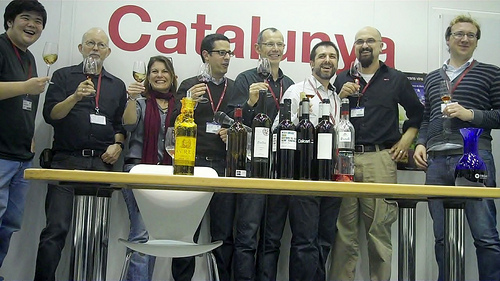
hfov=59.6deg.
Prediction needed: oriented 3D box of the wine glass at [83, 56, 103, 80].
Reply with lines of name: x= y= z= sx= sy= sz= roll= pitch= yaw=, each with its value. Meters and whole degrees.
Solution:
wine glass: x=-1.502 y=-0.694 z=4.106 sx=0.107 sy=0.213 sz=0.135 roll=0 pitch=3 yaw=-7

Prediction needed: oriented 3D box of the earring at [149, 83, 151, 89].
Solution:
earring: x=-1.218 y=-0.653 z=5.299 sx=0.009 sy=0.040 sz=0.010 roll=1 pitch=2 yaw=45

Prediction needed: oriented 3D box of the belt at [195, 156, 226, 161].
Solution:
belt: x=-0.456 y=0.211 z=5.084 sx=0.344 sy=0.055 sz=0.044 roll=0 pitch=3 yaw=-7

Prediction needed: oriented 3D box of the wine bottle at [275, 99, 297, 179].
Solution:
wine bottle: x=0.305 y=-0.015 z=3.573 sx=0.201 sy=0.654 sz=0.168 roll=0 pitch=3 yaw=-20

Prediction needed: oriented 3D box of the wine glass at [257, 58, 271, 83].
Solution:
wine glass: x=0.126 y=-0.635 z=3.854 sx=0.105 sy=0.190 sz=0.134 roll=0 pitch=3 yaw=-7

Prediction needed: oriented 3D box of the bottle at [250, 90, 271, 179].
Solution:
bottle: x=0.088 y=-0.054 z=3.586 sx=0.167 sy=0.726 sz=0.169 roll=1 pitch=3 yaw=0

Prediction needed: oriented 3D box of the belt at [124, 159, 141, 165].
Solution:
belt: x=-1.408 y=0.252 z=5.215 sx=0.087 sy=0.062 sz=0.089 roll=-1 pitch=-4 yaw=35

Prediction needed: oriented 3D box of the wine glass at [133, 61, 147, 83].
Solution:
wine glass: x=-1.088 y=-0.677 z=4.277 sx=0.119 sy=0.199 sz=0.194 roll=0 pitch=4 yaw=-17

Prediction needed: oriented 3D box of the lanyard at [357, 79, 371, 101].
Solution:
lanyard: x=1.396 y=-0.593 z=5.255 sx=0.050 sy=0.363 sz=0.020 roll=19 pitch=-18 yaw=38

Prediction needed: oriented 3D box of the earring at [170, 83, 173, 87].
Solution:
earring: x=-0.963 y=-0.685 z=5.344 sx=0.051 sy=0.051 sz=0.016 roll=1 pitch=-2 yaw=-15

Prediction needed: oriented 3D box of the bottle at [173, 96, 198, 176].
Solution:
bottle: x=-0.519 y=-0.038 z=3.462 sx=0.173 sy=0.609 sz=0.130 roll=0 pitch=3 yaw=-10

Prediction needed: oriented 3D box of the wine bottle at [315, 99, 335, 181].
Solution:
wine bottle: x=0.618 y=-0.011 z=3.640 sx=0.176 sy=0.676 sz=0.175 roll=5 pitch=0 yaw=0

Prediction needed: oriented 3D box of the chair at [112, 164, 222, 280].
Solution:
chair: x=-0.708 y=0.776 z=4.159 sx=1.011 sy=1.428 sz=1.036 roll=2 pitch=-27 yaw=-2
